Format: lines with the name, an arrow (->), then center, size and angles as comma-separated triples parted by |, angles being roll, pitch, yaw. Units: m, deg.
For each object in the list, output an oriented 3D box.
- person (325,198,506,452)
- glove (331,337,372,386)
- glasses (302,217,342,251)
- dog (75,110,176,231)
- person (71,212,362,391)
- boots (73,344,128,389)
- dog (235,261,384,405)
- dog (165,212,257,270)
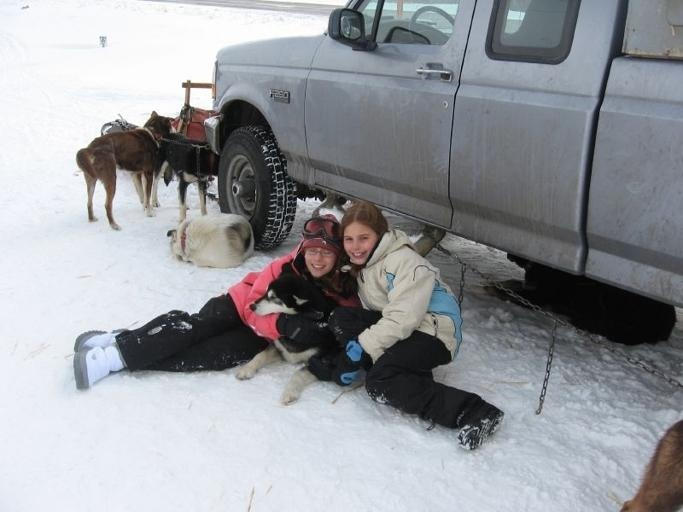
person -> 0.425, 0.351, 2.930 | 0.721, 1.311, 1.073 | 4, -4, -34
glove -> 0.063, 0.596, 2.873 | 0.118, 0.300, 0.174 | -5, 45, -49
glasses -> -0.119, -0.138, 3.049 | 0.167, 0.230, 0.118 | 3, 51, 4
dog -> -2.390, -0.963, 5.638 | 0.427, 1.035, 1.414 | 11, 22, 14
person -> -0.750, 0.394, 3.142 | 1.585, 0.735, 0.550 | 5, 5, -7
boots -> -1.336, 0.577, 2.859 | 0.159, 0.137, 0.368 | -17, 11, 7
dog -> -0.162, 0.497, 3.294 | 0.558, 0.675, 1.057 | 10, 3, 43
dog -> -1.134, -0.101, 4.422 | 0.602, 0.426, 0.305 | 4, -14, 13
